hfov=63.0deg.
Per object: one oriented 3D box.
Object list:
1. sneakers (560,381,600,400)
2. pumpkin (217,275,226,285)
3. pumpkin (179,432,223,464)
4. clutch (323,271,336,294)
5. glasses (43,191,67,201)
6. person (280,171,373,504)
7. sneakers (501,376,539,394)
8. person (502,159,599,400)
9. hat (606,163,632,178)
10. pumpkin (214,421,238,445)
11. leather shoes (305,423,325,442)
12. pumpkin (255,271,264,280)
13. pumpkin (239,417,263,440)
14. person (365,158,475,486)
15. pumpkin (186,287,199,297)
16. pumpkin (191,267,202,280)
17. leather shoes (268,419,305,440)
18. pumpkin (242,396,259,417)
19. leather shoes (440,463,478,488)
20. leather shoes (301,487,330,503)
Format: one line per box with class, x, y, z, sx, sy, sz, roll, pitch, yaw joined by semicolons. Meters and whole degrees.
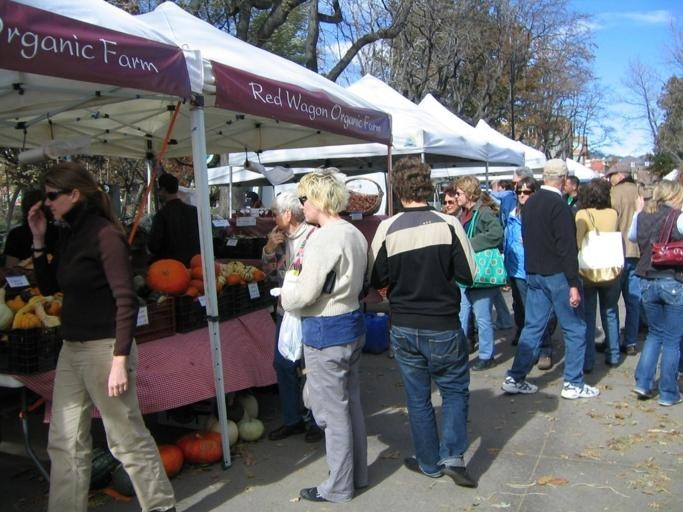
sneakers;2.557;1.432;6.083;0.451;0.217;0.169;-3;6;-16
pumpkin;-1.149;0.235;5.301;0.057;0.046;0.077;-3;0;32
pumpkin;-1.225;1.667;4.831;0.278;0.219;0.284;-1;-11;21
clutch;-0.090;0.196;4.118;0.106;0.179;0.041;-1;8;0
glasses;-1.914;-0.400;3.705;0.174;0.069;0.056;2;9;22
person;-0.118;0.618;4.317;0.652;2.532;0.461;-1;8;2
sneakers;1.992;1.417;6.255;0.436;0.214;0.175;0;17;-13
person;2.328;0.224;6.022;1.066;2.521;0.784;-2;2;-33
hat;4.294;-1.347;8.577;0.274;0.218;0.375;-3;18;-27
pumpkin;-1.060;1.621;5.168;0.218;0.222;0.225;-5;-2;5
leather shoes;-0.256;1.682;5.291;0.101;0.143;0.226;-2;-11;14
pumpkin;-0.864;0.219;5.853;0.075;0.085;0.094;5;-29;-12
pumpkin;-0.868;1.637;5.319;0.180;0.177;0.186;0;6;26
person;0.662;0.545;4.402;0.817;2.609;0.340;1;8;13
pumpkin;-1.342;0.327;4.996;0.077;0.084;0.095;-7;37;-17
pumpkin;-1.358;0.165;5.203;0.122;0.101;0.094;-2;-13;7
leather shoes;-0.526;1.681;5.405;0.367;0.162;0.132;-3;-2;-26
pumpkin;-0.904;1.504;5.632;0.175;0.222;0.179;-2;1;8
leather shoes;0.938;1.785;4.441;0.146;0.127;0.312;-6;-35;48
leather shoes;-0.218;1.839;4.348;0.174;0.073;0.102;11;-3;10
